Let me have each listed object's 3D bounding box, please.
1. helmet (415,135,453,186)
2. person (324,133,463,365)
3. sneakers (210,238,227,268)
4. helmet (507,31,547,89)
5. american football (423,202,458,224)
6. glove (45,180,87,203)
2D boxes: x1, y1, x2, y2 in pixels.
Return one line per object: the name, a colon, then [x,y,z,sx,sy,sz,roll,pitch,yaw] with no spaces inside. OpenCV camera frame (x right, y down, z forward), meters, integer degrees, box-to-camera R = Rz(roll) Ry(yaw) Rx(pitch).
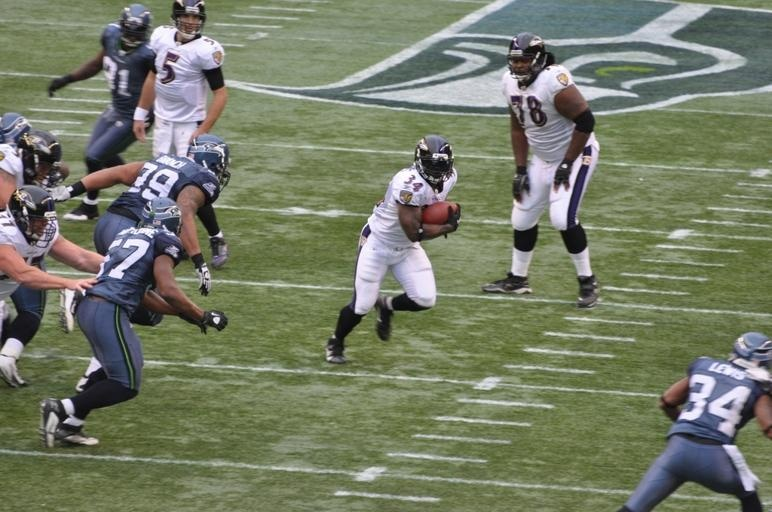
helmet: [0.377,-0.725,8.887,0.302,0.451,0.267,8,18,1]
person: [0.064,-0.053,9.064,0.885,1.902,0.580,5,21,-12]
sneakers: [-1.527,-0.035,10.430,0.191,0.249,0.186,-7,-11,4]
helmet: [1.194,-1.659,9.618,0.305,0.447,0.149,9,20,2]
american football: [0.424,-0.338,8.910,0.264,0.175,0.154,5,16,0]
glove: [-2.647,-0.543,9.474,0.455,0.085,0.228,-5,-6,2]
